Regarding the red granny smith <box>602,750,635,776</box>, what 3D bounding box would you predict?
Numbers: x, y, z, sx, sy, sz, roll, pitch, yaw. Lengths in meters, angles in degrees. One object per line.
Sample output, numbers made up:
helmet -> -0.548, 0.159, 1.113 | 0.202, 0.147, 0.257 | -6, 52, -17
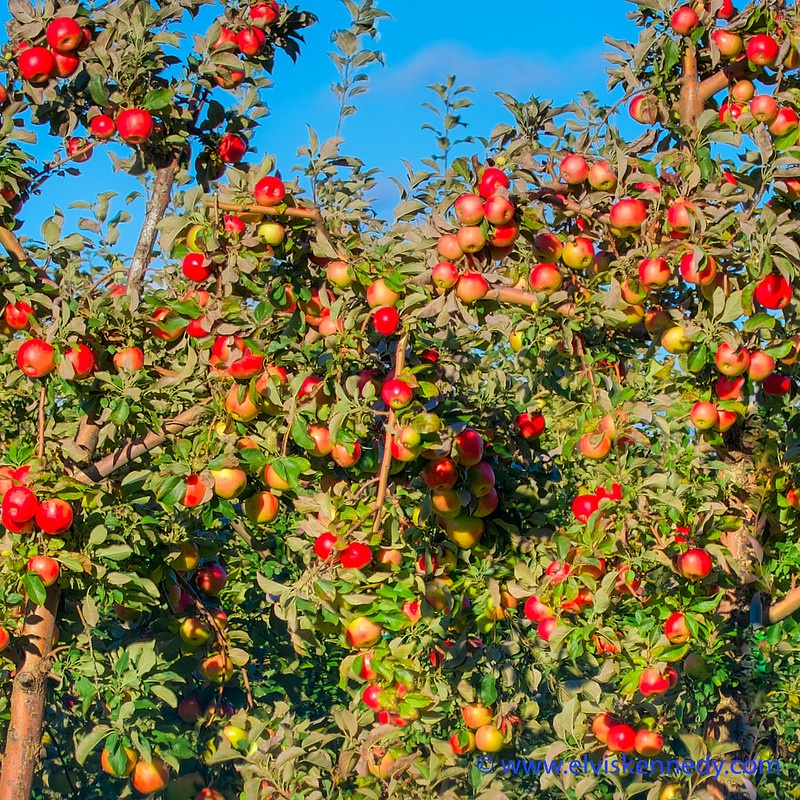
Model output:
red granny smith -> 0.838, 1.409, 5.098 | 0.119, 0.130, 0.133 | 1, 89, 4

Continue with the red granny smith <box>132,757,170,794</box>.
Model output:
red granny smith -> -1.083, 1.618, 5.671 | 0.141, 0.224, 0.130 | -27, 65, -13
